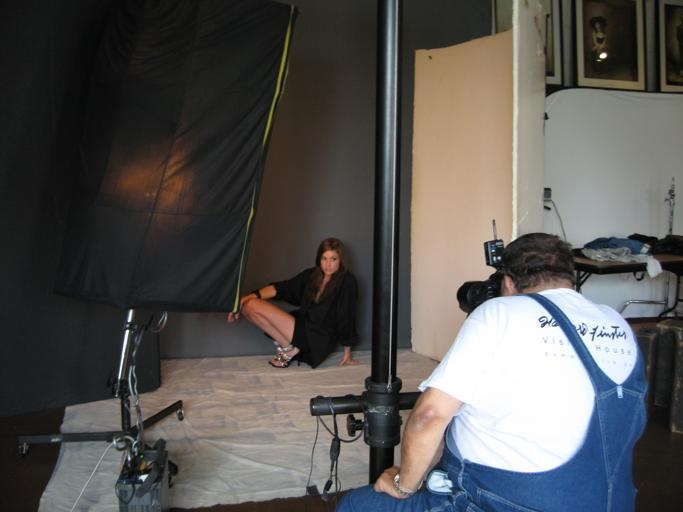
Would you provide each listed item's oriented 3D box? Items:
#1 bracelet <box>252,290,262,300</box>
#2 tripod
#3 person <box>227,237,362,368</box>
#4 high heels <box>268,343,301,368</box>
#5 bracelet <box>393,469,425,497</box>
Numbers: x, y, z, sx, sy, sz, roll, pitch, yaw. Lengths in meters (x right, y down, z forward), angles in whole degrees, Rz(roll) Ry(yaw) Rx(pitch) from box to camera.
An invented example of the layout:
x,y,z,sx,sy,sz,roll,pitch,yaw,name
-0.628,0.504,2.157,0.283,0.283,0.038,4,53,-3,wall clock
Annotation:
x,y,z,sx,sy,sz,roll,pitch,yaw,name
-0.688,0.321,4.729,0.060,0.065,0.099,-7,14,-32,bracelet
-1.326,0.696,3.248,0.846,1.021,1.030,3,1,-18,tripod
-0.389,0.369,4.788,1.006,1.095,0.623,1,17,-20,person
-0.467,0.798,4.690,0.246,0.107,0.149,-13,20,-40,high heels
0.257,0.863,2.225,0.089,0.038,0.097,10,-6,24,bracelet
